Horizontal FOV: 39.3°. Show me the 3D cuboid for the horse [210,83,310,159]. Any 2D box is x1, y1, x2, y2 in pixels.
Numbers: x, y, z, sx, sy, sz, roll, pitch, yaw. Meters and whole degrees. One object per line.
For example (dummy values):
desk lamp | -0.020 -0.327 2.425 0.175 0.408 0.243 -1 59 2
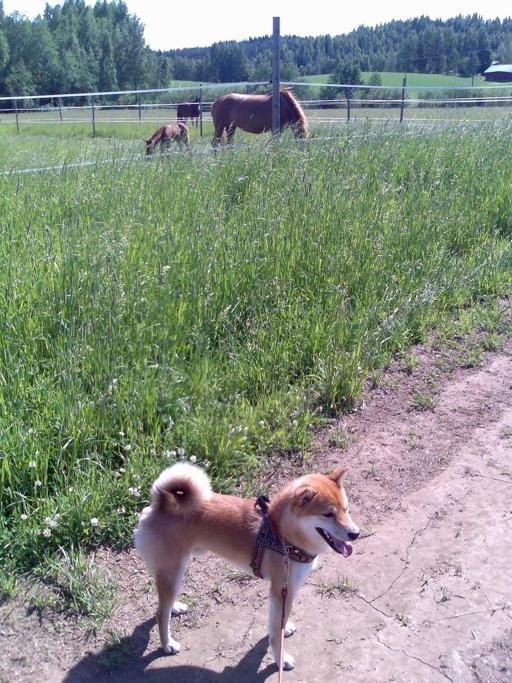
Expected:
horse | -0.061 -4.106 13.127 0.791 1.028 4.350 -6 22 -13
